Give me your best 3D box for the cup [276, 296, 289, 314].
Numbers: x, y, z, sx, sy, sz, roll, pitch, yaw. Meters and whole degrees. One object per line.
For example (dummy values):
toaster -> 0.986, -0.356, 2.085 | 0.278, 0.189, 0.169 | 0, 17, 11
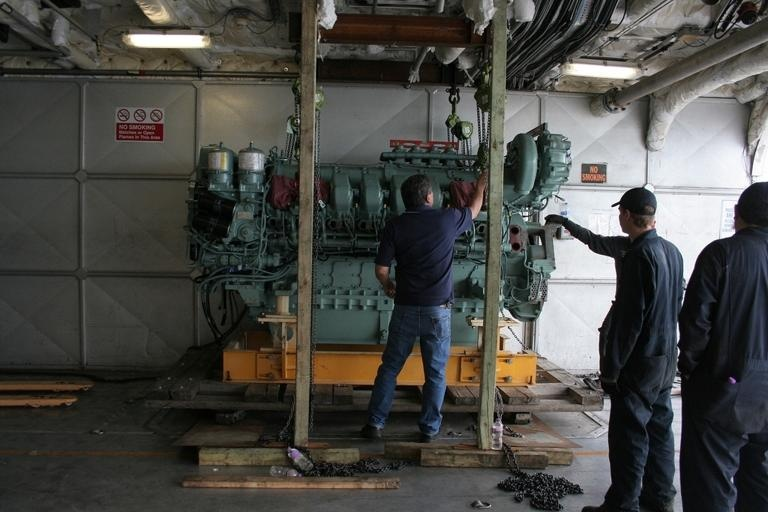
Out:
cup -> -1.363, 0.642, 9.484 | 0.184, 0.254, 0.249 | 2, 2, -10

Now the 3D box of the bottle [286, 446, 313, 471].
bottle -> -0.977, 2.313, 8.082 | 0.307, 0.175, 0.110 | 39, -13, 12

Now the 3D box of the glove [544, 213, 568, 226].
glove -> 2.402, -0.505, 9.899 | 0.304, 0.136, 0.383 | 0, 2, 6

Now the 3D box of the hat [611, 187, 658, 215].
hat -> 2.705, -0.589, 7.674 | 0.287, 0.196, 0.367 | -4, 12, -26

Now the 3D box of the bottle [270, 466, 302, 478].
bottle -> -1.156, 2.461, 8.069 | 0.222, 0.051, 0.133 | 1, 6, 1

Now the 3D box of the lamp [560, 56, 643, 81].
lamp -> 3.133, -2.685, 10.232 | 0.810, 0.139, 0.434 | 1, 2, -6

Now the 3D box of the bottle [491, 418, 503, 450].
bottle -> 1.339, 2.078, 8.376 | 0.137, 0.362, 0.238 | 3, 2, 10
